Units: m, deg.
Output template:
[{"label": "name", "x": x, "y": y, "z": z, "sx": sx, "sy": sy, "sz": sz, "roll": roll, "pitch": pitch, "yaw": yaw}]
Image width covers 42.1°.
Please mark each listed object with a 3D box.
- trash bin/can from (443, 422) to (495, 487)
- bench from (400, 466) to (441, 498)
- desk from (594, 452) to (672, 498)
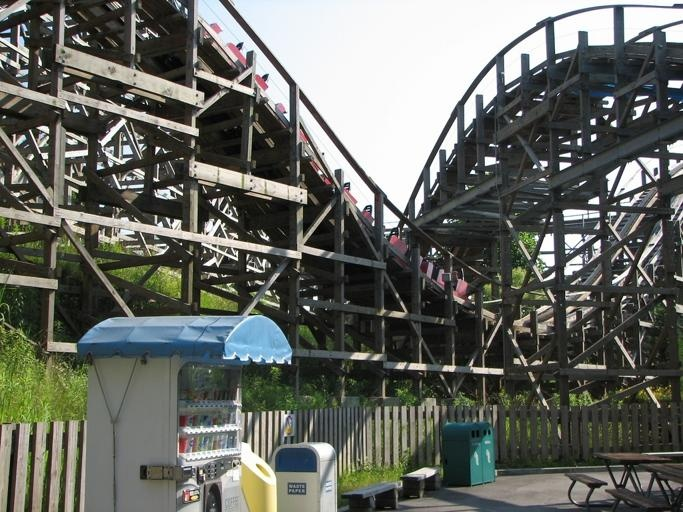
[{"label": "trash bin/can", "x": 3.047, "y": 4.688, "z": 21.103, "sx": 1.270, "sy": 1.496, "sz": 0.777, "roll": 1, "pitch": -16, "yaw": -9}, {"label": "bench", "x": 1.733, "y": 5.044, "z": 19.858, "sx": 0.599, "sy": 0.690, "sz": 1.360, "roll": -7, "pitch": -18, "yaw": 19}, {"label": "desk", "x": 5.978, "y": 4.701, "z": 19.213, "sx": 0.799, "sy": 0.541, "sz": 2.155, "roll": 25, "pitch": -6, "yaw": 11}]
